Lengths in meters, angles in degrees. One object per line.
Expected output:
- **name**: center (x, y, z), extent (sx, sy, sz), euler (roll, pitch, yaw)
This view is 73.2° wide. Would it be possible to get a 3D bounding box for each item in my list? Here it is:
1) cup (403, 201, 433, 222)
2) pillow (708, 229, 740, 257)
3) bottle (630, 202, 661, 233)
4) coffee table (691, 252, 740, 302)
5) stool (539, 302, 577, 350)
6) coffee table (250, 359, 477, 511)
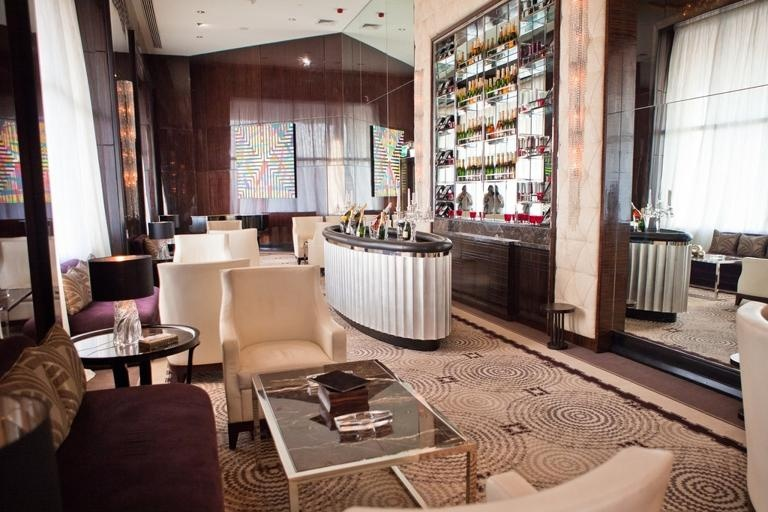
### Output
- **cup**: center (0.533, -0.684, 7.824), extent (0.503, 0.314, 0.501), euler (-1, 11, 0)
- **pillow**: center (3.305, -0.136, 5.022), extent (0.119, 0.210, 0.226), euler (32, -6, -25)
- **bottle**: center (2.832, -0.442, 5.598), extent (0.161, 0.275, 0.293), euler (-7, 12, -22)
- **coffee table**: center (3.279, 0.191, 5.151), extent (0.398, 0.365, 0.391), euler (-11, 13, -38)
- **stool**: center (1.946, 0.812, 6.162), extent (0.494, 0.586, 0.480), euler (0, 6, 5)
- **coffee table**: center (-0.194, 0.716, 3.347), extent (0.980, 0.678, 1.421), euler (-2, 7, -22)
